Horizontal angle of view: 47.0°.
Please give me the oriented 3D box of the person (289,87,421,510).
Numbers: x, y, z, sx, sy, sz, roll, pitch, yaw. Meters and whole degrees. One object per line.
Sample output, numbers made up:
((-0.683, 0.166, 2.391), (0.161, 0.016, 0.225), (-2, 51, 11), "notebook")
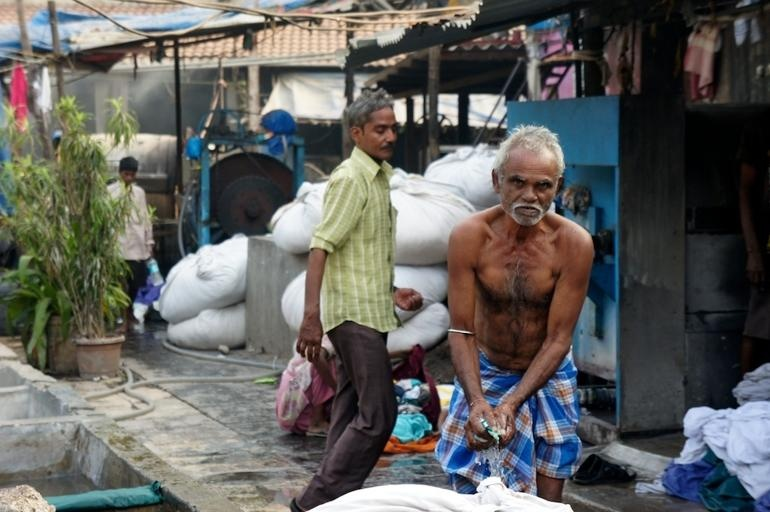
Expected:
((-0.241, 0.261, 5.609), (0.638, 2.627, 0.873), (1, 10, 8), "person")

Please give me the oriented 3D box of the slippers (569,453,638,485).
((1.541, 1.486, 6.220), (0.479, 0.176, 0.265), (-1, 4, -15), "slippers")

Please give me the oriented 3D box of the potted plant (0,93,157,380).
((-3.094, -0.227, 8.638), (1.223, 2.632, 1.702), (-5, 10, -24), "potted plant")

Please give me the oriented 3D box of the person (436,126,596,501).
((0.692, 0.341, 4.815), (0.828, 2.073, 0.480), (2, 10, 13), "person")

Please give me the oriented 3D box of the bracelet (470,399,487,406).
((0.505, 0.791, 4.790), (0.088, 0.042, 0.044), (0, 9, 1), "bracelet")
